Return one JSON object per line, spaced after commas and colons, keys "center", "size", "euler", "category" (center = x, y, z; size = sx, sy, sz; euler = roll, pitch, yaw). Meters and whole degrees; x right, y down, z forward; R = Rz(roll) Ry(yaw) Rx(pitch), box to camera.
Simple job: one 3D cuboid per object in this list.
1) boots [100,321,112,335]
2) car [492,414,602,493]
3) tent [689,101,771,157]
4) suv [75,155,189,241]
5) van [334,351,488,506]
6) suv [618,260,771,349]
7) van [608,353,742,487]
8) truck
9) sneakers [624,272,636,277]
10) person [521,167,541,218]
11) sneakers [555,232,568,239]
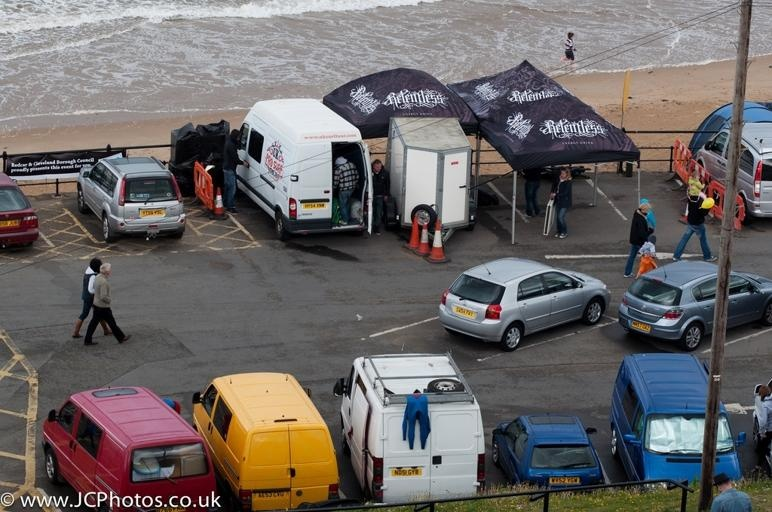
{"center": [-7.265, 1.900, 25.506], "size": [0.251, 0.431, 0.472], "euler": [-5, 24, -5], "category": "boots"}
{"center": [3.639, 4.218, 21.590], "size": [2.129, 1.325, 3.182], "euler": [0, 12, -2], "category": "car"}
{"center": [12.656, -5.010, 36.146], "size": [3.031, 1.082, 2.514], "euler": [-1, 16, 1], "category": "tent"}
{"center": [-8.215, -1.714, 30.999], "size": [2.165, 2.466, 3.474], "euler": [-27, 31, -35], "category": "suv"}
{"center": [0.403, 3.406, 20.760], "size": [2.373, 1.832, 3.306], "euler": [-3, 19, -11], "category": "van"}
{"center": [8.246, 1.092, 26.051], "size": [3.987, 1.322, 2.030], "euler": [-16, 26, -30], "category": "suv"}
{"center": [6.521, 3.699, 21.986], "size": [2.358, 1.900, 4.304], "euler": [-2, 20, 4], "category": "van"}
{"center": [-2.965, -3.275, 33.453], "size": [3.338, 3.328, 6.732], "euler": [-4, 22, -23], "category": "truck"}
{"center": [7.366, 0.580, 29.470], "size": [0.379, 0.140, 0.127], "euler": [-5, 35, -31], "category": "sneakers"}
{"center": [5.042, -2.258, 33.637], "size": [0.541, 1.806, 0.695], "euler": [-4, 26, 9], "category": "person"}
{"center": [5.778, -0.684, 32.164], "size": [0.343, 0.118, 0.178], "euler": [2, 22, -29], "category": "sneakers"}
